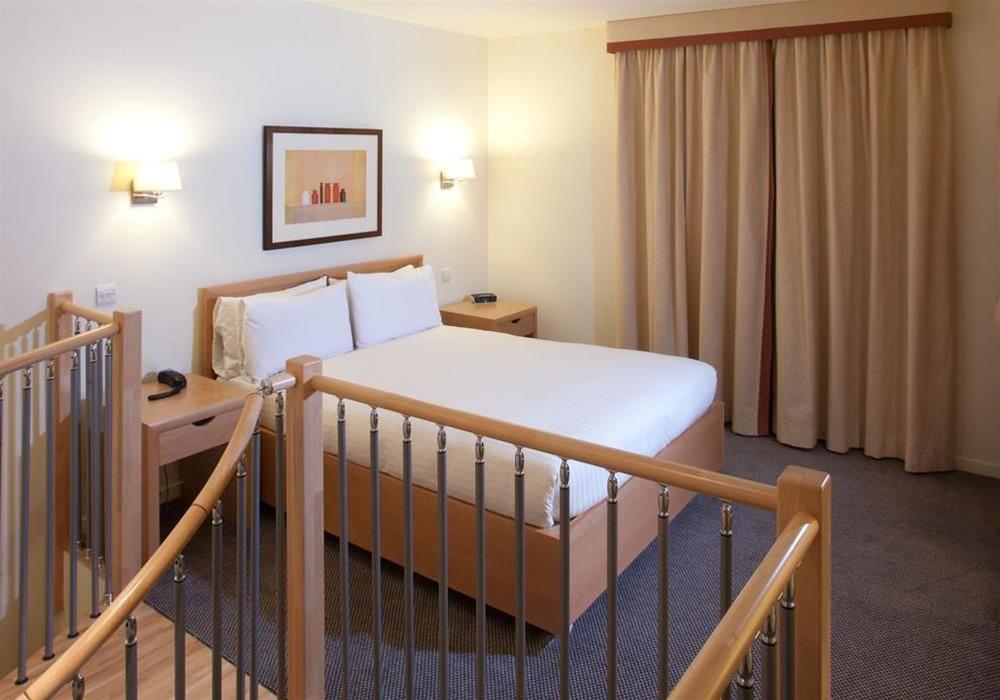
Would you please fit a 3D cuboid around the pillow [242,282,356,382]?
[{"bbox_3d":[-1.272,-0.147,4.872,0.170,0.552,0.835,8,20,38],"label":"pillow"}]

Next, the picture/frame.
[{"bbox_3d":[-1.234,-1.171,5.350,0.082,0.810,1.076,8,19,39],"label":"picture/frame"}]

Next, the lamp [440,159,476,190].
[{"bbox_3d":[-0.330,-1.448,6.215,0.261,0.191,0.216,3,9,41],"label":"lamp"}]

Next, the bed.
[{"bbox_3d":[-0.220,0.502,4.390,2.158,1.265,2.167,8,15,33],"label":"bed"}]

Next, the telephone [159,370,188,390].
[{"bbox_3d":[-1.918,0.160,4.452,0.176,0.071,0.089,13,-3,40],"label":"telephone"}]

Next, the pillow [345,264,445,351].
[{"bbox_3d":[-0.740,-0.366,5.520,0.208,0.525,0.798,-3,8,44],"label":"pillow"}]

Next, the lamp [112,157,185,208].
[{"bbox_3d":[-2.051,-0.929,4.433,0.382,0.278,0.333,-1,-8,-25],"label":"lamp"}]

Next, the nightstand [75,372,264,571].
[{"bbox_3d":[-1.923,0.644,4.375,0.616,0.819,0.831,14,12,26],"label":"nightstand"}]
